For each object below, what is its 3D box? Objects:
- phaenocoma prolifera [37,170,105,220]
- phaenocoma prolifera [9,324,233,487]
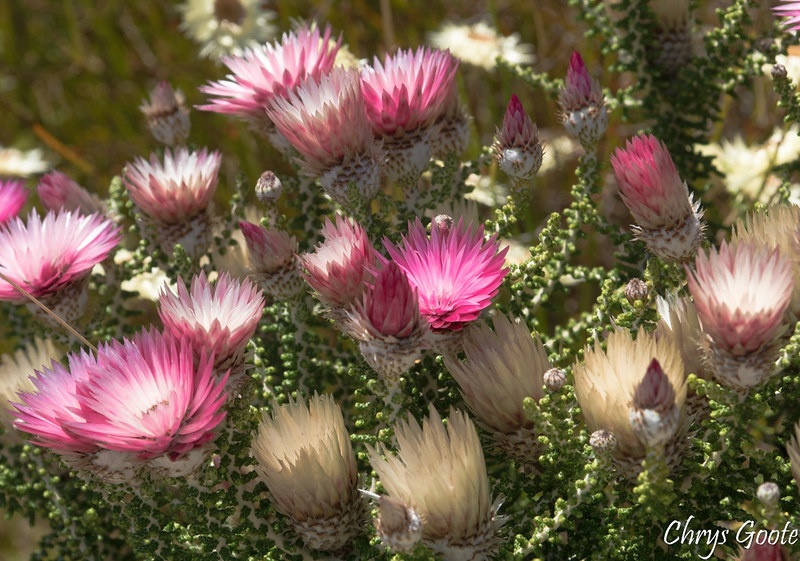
[{"bbox_3d":[-0.449,-0.109,1.577,0.096,0.041,0.055,36,86,-7],"label":"phaenocoma prolifera"},{"bbox_3d":[-0.331,0.156,1.357,0.184,0.119,0.214,1,62,3],"label":"phaenocoma prolifera"}]
